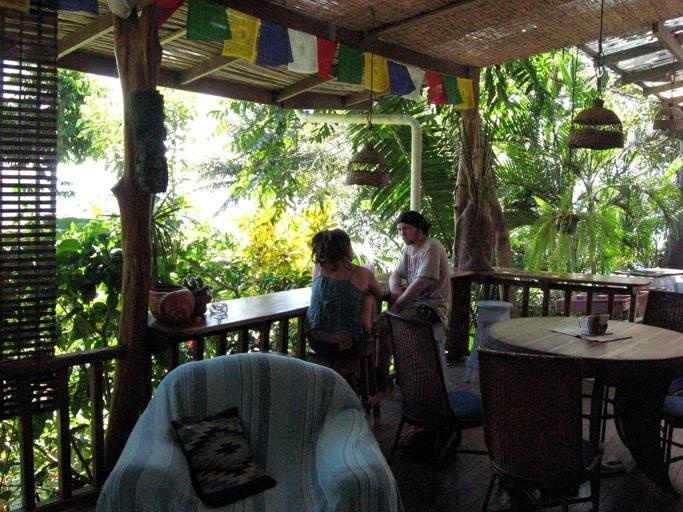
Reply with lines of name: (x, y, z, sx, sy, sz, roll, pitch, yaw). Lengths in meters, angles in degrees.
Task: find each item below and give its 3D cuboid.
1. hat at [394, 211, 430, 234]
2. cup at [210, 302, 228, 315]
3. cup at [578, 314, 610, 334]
hat: (0.625, -0.284, 4.704, 0.230, 0.124, 0.197, 26, -2, -25)
cup: (-0.885, 0.363, 3.801, 0.141, 0.078, 0.143, 0, 2, 0)
cup: (1.759, 0.450, 3.701, 0.136, 0.117, 0.158, 1, -3, -42)
